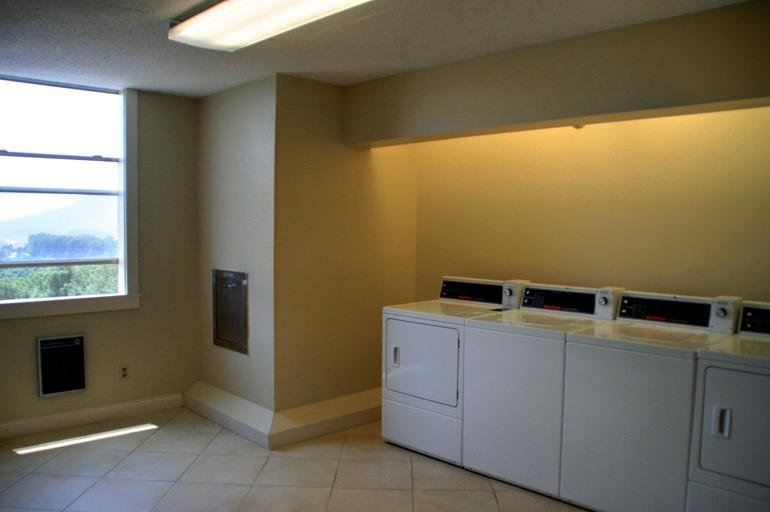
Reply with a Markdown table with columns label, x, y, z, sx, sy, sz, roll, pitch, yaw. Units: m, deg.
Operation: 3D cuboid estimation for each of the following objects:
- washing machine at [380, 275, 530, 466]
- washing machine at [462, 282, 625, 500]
| label | x | y | z | sx | sy | sz | roll | pitch | yaw |
| --- | --- | --- | --- | --- | --- | --- | --- | --- | --- |
| washing machine | 0.634 | 1.007 | 5.048 | 1.096 | 1.511 | 0.939 | 2 | 3 | 42 |
| washing machine | 1.540 | 1.154 | 4.563 | 1.124 | 1.720 | 1.275 | 7 | 2 | -2 |
